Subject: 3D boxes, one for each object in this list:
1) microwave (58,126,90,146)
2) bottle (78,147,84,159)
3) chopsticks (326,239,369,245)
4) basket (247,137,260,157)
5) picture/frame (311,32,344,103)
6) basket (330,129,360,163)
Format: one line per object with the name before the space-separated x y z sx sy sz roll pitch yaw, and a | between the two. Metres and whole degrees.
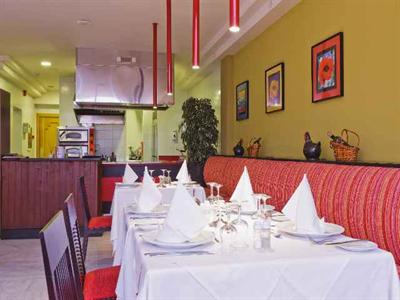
microwave | -3.091 -0.366 7.901 0.621 0.465 0.437 1 -2 -12
bottle | -2.884 0.025 7.863 0.093 0.206 0.234 1 -1 -21
chopsticks | 0.810 0.504 1.786 0.155 0.010 0.024 0 0 -23
basket | 0.862 -0.055 5.263 0.237 0.328 0.298 2 -7 -8
picture/frame | 1.508 -0.966 3.864 0.066 0.842 0.514 1 0 -19
basket | 1.524 -0.052 3.509 0.357 0.376 0.272 0 -4 39
